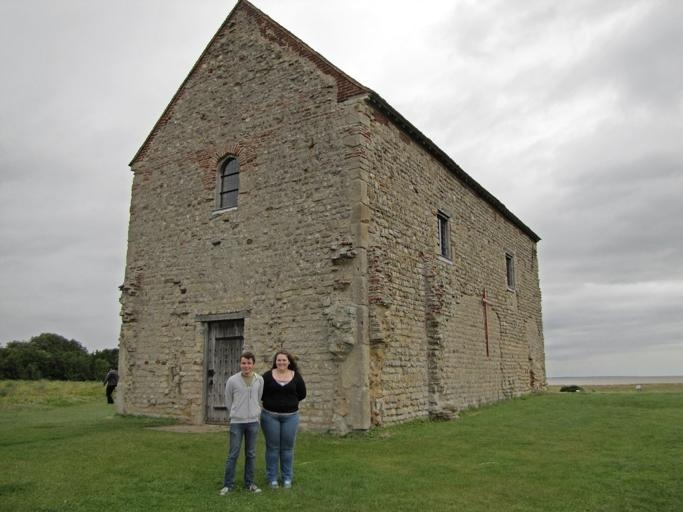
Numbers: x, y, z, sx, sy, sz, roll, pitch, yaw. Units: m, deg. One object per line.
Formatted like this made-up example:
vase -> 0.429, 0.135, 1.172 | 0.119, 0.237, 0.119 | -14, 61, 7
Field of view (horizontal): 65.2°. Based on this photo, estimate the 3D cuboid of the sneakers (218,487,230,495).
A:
sneakers -> -1.862, 3.779, 8.573 | 0.100, 0.051, 0.139 | 3, 7, 11

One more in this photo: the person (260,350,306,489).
person -> -0.969, 2.752, 8.969 | 0.720, 2.164, 0.512 | -2, -16, -5

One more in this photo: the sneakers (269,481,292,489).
sneakers -> -1.002, 3.820, 8.884 | 0.395, 0.170, 0.134 | -7, -33, 10

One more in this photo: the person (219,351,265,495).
person -> -1.643, 2.745, 8.841 | 0.687, 2.228, 0.768 | 1, -17, -14

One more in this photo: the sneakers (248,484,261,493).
sneakers -> -1.409, 3.790, 8.675 | 0.193, 0.132, 0.224 | 3, -18, -22
